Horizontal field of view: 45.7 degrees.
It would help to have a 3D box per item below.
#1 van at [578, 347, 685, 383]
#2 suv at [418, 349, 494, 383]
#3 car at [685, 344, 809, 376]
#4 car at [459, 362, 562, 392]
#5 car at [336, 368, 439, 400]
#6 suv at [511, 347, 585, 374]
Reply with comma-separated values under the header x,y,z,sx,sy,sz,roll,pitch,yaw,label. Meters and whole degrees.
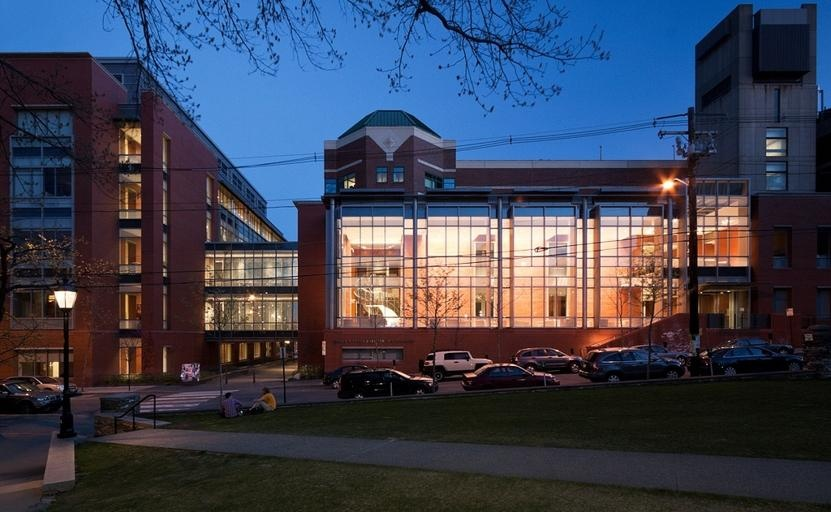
x,y,z,sx,sy,sz,roll,pitch,yaw,label
17.223,8.670,76.838,7.421,2.313,2.902,-2,-5,-2,van
3.209,9.930,85.711,8.341,3.072,3.923,0,-3,-9,suv
25.477,7.996,75.972,7.306,1.843,1.580,-3,11,-1,car
7.338,9.609,77.073,6.422,1.789,2.767,-3,-5,-4,car
-2.830,10.022,75.794,7.206,2.177,2.848,0,-3,-1,car
11.439,9.183,86.360,5.145,1.729,2.338,0,-4,-4,suv
